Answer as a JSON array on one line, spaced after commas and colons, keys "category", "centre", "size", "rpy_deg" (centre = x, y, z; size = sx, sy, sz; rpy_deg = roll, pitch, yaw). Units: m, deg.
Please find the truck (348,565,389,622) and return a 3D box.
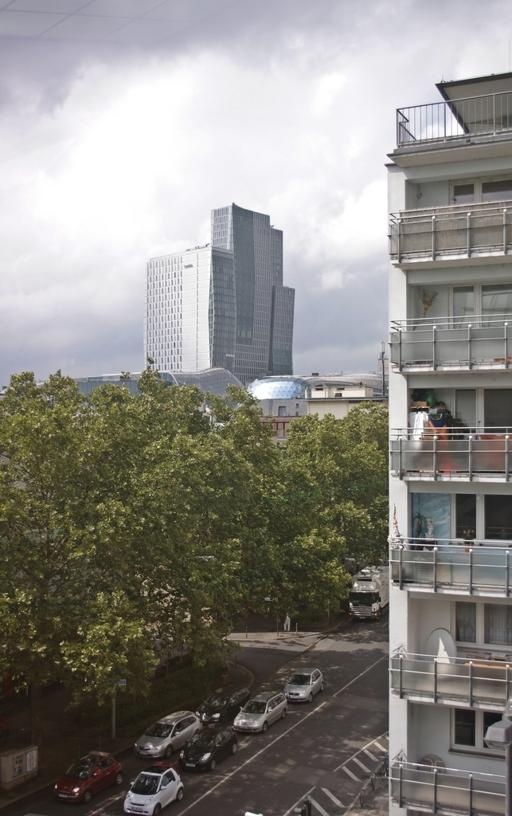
[{"category": "truck", "centre": [6.819, 11.441, 80.942], "size": [1.544, 2.308, 4.570], "rpy_deg": [-2, -3, 11]}]
